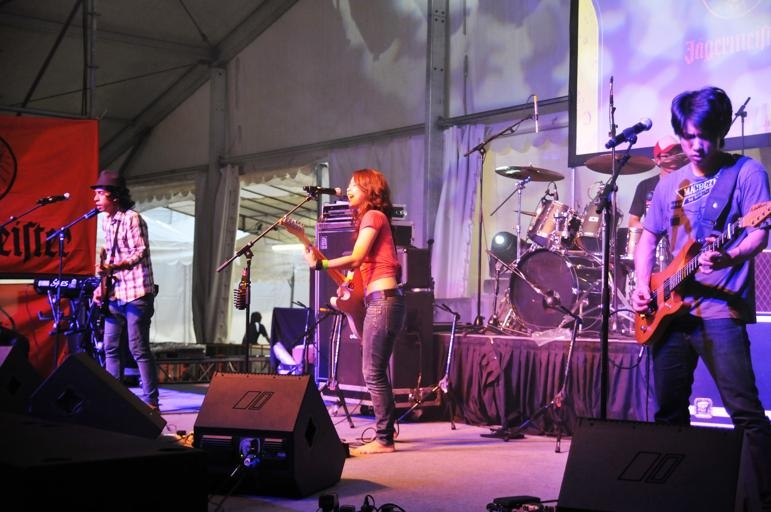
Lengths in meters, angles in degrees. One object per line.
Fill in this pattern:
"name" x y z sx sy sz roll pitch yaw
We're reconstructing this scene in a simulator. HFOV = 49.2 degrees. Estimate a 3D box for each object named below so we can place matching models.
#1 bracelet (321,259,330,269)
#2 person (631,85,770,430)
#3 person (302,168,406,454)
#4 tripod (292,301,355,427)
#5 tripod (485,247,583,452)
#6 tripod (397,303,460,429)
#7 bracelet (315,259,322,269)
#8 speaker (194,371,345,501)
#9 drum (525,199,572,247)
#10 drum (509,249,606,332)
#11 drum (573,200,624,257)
"bracelet" -0.470 0.064 6.587 0.060 0.067 0.056 2 0 5
"person" 2.140 -0.003 5.684 0.887 2.302 0.499 -2 -4 18
"person" -0.207 0.439 6.788 0.697 2.305 0.514 -1 -4 -3
"tripod" -0.539 1.004 7.725 0.609 1.462 0.726 5 -18 -18
"tripod" 1.599 1.005 8.161 1.015 1.979 1.068 4 5 25
"tripod" 0.427 1.050 8.045 0.572 1.151 0.739 -1 -4 5
"bracelet" -0.515 0.067 6.643 0.067 0.069 0.064 1 1 23
"speaker" -0.825 1.245 6.073 0.890 0.778 0.872 -2 -1 20
"drum" 1.668 -0.323 8.549 0.186 0.522 0.574 1 -4 -27
"drum" 1.712 0.302 8.412 0.942 1.029 0.738 8 6 39
"drum" 1.962 -0.233 7.780 0.403 0.442 0.409 30 -21 -23
